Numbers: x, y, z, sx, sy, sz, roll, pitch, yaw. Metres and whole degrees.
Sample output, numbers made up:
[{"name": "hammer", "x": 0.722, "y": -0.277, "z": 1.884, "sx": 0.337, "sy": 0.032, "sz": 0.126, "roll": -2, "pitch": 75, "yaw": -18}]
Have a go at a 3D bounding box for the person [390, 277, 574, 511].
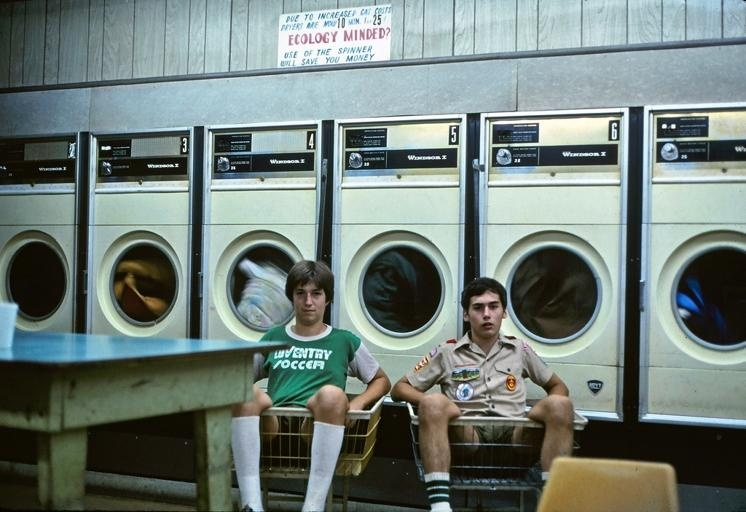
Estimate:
[{"name": "person", "x": 0.646, "y": 0.764, "z": 3.793, "sx": 1.043, "sy": 1.141, "sz": 0.674, "roll": 1, "pitch": 0, "yaw": 1}]
